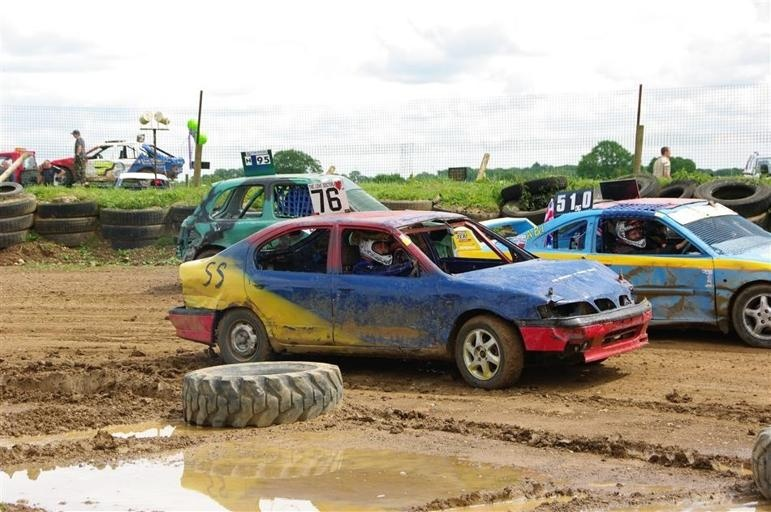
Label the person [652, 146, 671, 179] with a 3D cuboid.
[{"bbox_3d":[7.100,-2.415,21.596,0.454,0.833,1.591,3,12,18],"label":"person"}]

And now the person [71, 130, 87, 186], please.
[{"bbox_3d":[-9.799,-3.141,26.868,0.360,1.698,1.034,-6,14,-20],"label":"person"}]

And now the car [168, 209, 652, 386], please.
[{"bbox_3d":[0.239,0.504,10.389,5.007,1.393,2.441,0,4,21],"label":"car"}]

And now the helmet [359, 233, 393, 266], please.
[{"bbox_3d":[-0.140,-0.078,10.273,0.488,0.324,0.332,5,3,13],"label":"helmet"}]

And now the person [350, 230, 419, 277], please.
[{"bbox_3d":[0.102,-0.051,10.481,0.985,0.429,0.718,17,5,29],"label":"person"}]

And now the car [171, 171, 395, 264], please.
[{"bbox_3d":[-1.973,-0.854,14.726,3.388,1.197,1.681,-8,9,10],"label":"car"}]

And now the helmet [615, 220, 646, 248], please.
[{"bbox_3d":[3.455,-0.296,11.854,0.478,0.377,0.384,0,6,21],"label":"helmet"}]

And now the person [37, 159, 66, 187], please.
[{"bbox_3d":[-11.255,-2.814,28.333,0.830,0.824,1.359,-5,13,-19],"label":"person"}]
